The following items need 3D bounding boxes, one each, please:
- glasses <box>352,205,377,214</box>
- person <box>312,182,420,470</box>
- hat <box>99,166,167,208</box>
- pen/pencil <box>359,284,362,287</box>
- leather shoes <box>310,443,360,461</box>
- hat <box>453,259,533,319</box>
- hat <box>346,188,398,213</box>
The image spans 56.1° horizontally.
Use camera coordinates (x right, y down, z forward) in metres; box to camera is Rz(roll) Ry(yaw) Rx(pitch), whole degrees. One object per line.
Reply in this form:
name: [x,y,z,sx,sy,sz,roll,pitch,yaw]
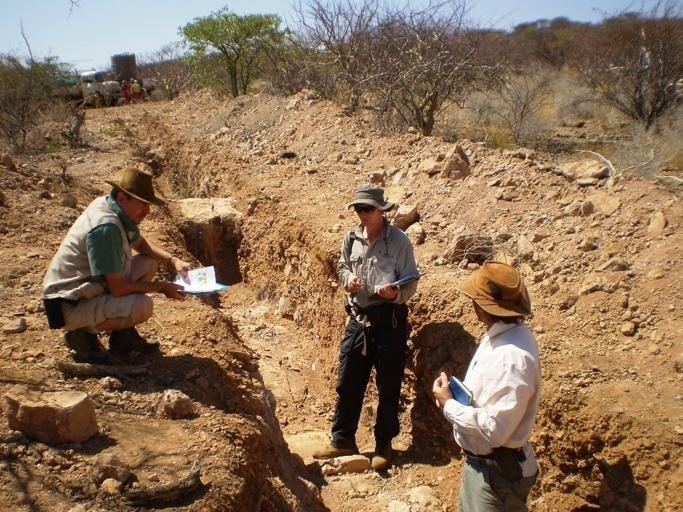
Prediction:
glasses: [0.226,-0.445,6.131,0.181,0.049,0.170,1,2,13]
person: [0.333,0.724,6.307,1.081,2.116,0.521,-3,2,39]
hat: [-1.808,-0.629,5.713,0.634,0.213,0.533,22,4,-14]
pen/pencil: [0.172,0.286,6.171,0.022,0.026,0.008,0,25,-8]
leather shoes: [-0.071,2.009,6.619,0.494,0.170,0.164,1,5,-4]
hat: [1.087,0.247,4.639,0.418,0.171,0.456,-33,55,-23]
hat: [0.354,-0.597,6.920,0.556,0.215,0.499,5,20,12]
